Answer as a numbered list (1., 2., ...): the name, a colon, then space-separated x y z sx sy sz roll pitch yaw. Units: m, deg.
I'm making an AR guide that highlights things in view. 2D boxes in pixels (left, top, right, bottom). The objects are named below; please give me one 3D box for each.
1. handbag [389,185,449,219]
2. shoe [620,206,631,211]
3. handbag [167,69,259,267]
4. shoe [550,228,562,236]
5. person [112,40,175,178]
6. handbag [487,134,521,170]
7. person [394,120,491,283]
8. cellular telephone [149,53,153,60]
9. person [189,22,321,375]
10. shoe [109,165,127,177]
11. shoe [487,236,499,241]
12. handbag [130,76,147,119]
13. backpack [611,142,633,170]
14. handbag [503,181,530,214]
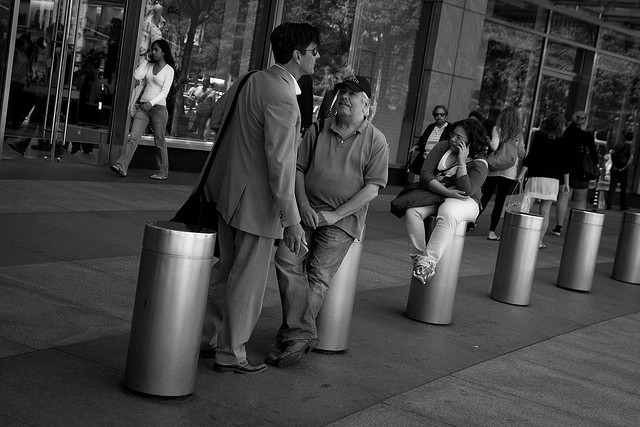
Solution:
1. handbag: 1.229 -0.220 6.852 0.620 0.327 0.633 -8 -10 -8
2. shoe: 10.555 -0.169 20.178 0.170 0.152 0.187 1 0 0
3. handbag: -0.880 -0.412 4.734 0.445 1.352 0.340 18 1 -1
4. shoe: 5.746 0.427 14.199 0.254 0.185 0.469 13 11 21
5. person: -3.492 -2.151 11.899 1.036 2.782 0.609 1 11 -34
6. handbag: 3.584 -1.204 11.381 0.477 0.757 0.570 13 11 28
7. person: 1.381 -0.228 6.759 1.081 1.818 0.717 0 12 -40
8. cellular telephone: -3.438 -3.206 11.812 0.099 0.125 0.016 16 13 39
9. person: -0.537 -0.118 4.614 0.883 2.818 0.471 10 9 16
10. shoe: -4.014 -0.844 11.568 0.130 0.147 0.338 28 -12 46
11. shoe: 3.617 0.535 12.183 0.177 0.090 0.066 0 10 5
12. handbag: -3.774 -2.429 12.056 0.208 0.944 0.261 7 -7 23
13. backpack: 10.302 -2.008 19.964 0.355 0.842 0.596 8 16 -25
14. handbag: 3.509 -0.290 10.434 0.495 0.774 0.231 4 -7 24
